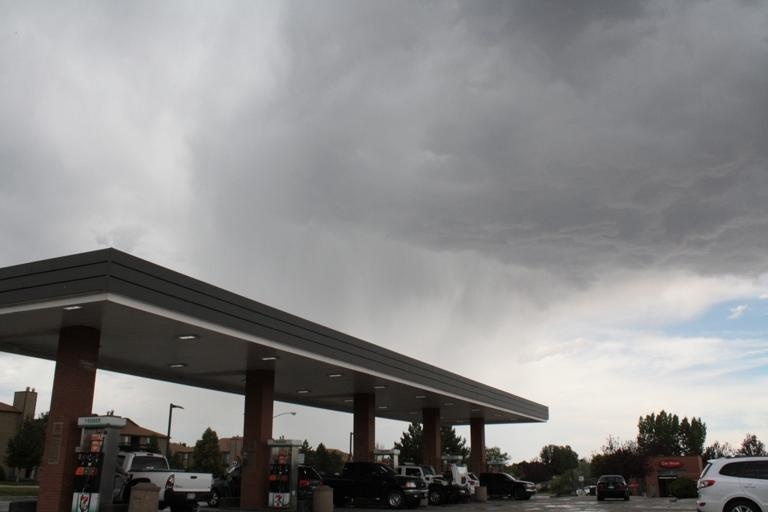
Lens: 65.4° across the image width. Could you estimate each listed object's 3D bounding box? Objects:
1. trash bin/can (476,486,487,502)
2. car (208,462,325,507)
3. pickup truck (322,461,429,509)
[{"bbox_3d":[6.275,15.464,38.598,0.917,1.062,0.936,2,-6,-1],"label":"trash bin/can"},{"bbox_3d":[-5.861,11.730,30.352,5.047,2.001,2.536,-1,-15,13],"label":"car"},{"bbox_3d":[-0.288,11.847,30.374,4.757,1.780,2.360,-10,-21,23],"label":"pickup truck"}]
